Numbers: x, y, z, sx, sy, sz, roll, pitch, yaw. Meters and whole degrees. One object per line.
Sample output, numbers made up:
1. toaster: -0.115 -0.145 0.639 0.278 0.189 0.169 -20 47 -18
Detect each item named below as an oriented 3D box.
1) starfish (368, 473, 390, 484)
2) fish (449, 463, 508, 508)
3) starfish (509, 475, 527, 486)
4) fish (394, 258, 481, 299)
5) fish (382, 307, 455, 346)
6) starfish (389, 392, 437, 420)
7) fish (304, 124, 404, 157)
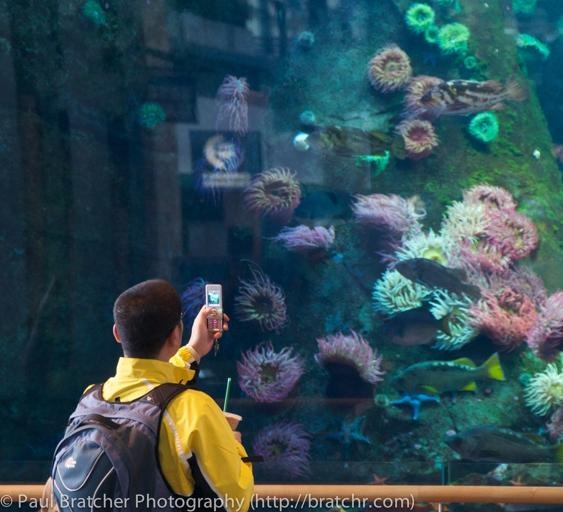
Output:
1. starfish: 0.723 1.663 6.345 0.130 0.070 0.037 5 7 1
2. fish: 1.458 1.727 6.329 0.429 0.374 0.089 4 7 -1
3. starfish: 1.756 1.666 6.332 0.111 0.069 0.032 4 7 -7
4. fish: 1.164 0.128 6.536 0.456 0.322 0.554 -3 11 -28
5. fish: 1.026 0.530 6.455 0.497 0.295 0.053 5 7 2
6. starfish: 1.000 1.095 6.397 0.230 0.072 0.235 -7 12 9
7. fish: 0.583 -0.903 6.602 0.540 0.264 0.609 -6 12 -10
